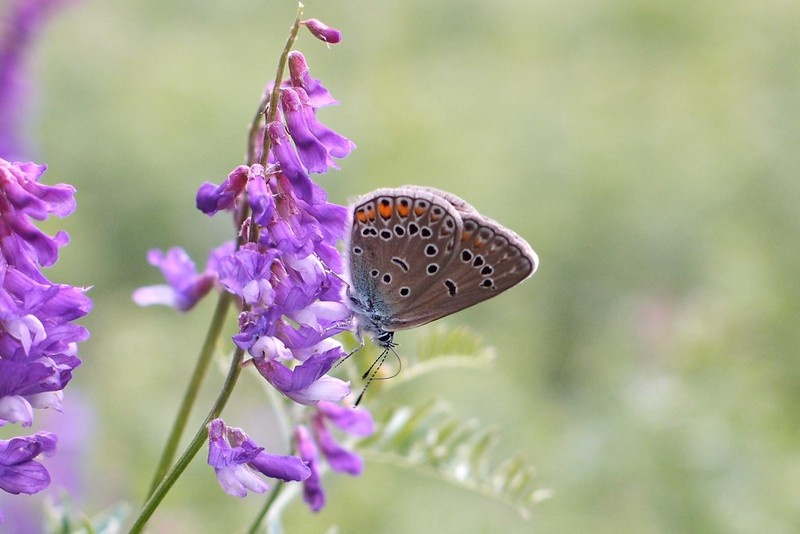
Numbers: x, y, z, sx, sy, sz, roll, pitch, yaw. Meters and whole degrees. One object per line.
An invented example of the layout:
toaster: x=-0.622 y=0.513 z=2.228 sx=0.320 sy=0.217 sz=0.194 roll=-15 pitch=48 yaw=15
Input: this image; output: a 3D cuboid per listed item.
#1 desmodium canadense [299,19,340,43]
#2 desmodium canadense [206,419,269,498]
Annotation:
desmodium canadense: x=-0.228 y=-0.659 z=2.679 sx=0.111 sy=0.040 sz=0.062 roll=32 pitch=40 yaw=-3
desmodium canadense: x=-0.432 y=0.511 z=2.553 sx=0.192 sy=0.207 sz=0.154 roll=14 pitch=-1 yaw=-2
